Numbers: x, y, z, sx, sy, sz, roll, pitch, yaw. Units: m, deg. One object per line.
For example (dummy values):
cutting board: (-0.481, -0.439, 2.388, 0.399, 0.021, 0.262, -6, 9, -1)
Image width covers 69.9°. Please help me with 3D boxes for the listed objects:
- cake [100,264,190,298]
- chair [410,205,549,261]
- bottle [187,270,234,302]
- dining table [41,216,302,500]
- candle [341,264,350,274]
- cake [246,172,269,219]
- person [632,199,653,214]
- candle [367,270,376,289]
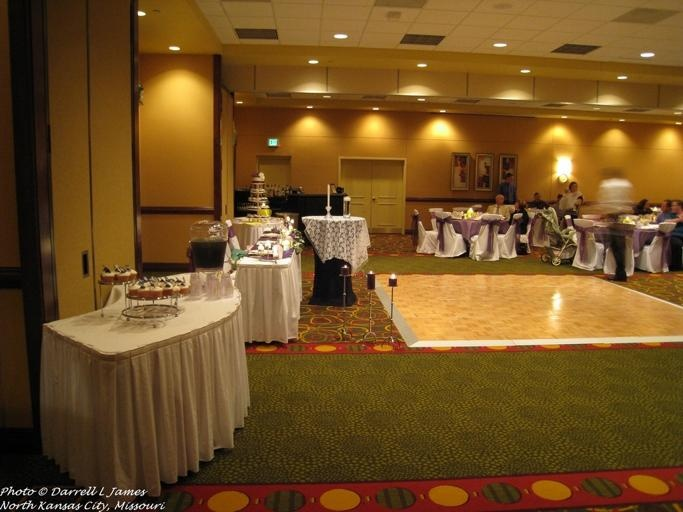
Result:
cake: (-1.336, 0.175, 3.226, 0.464, 0.077, 0.297, 7, 9, 36)
chair: (2.807, -0.537, 11.070, 2.341, 1.024, 1.341, 4, 11, 18)
bottle: (-0.960, 0.210, 3.657, 0.224, 0.098, 0.282, 1, 6, 2)
dining table: (-1.149, 0.863, 3.026, 1.220, 0.988, 0.671, -6, 13, -31)
candle: (0.031, 0.139, 5.443, 0.107, 0.109, 0.105, -4, 8, -45)
cake: (-1.511, -1.128, 8.868, 0.384, 0.790, 1.477, -1, 11, -11)
person: (7.409, -1.227, 12.029, 0.376, 0.354, 0.773, 7, 13, 30)
candle: (0.300, 0.244, 4.994, 0.062, 0.156, 0.147, 0, 11, -4)
